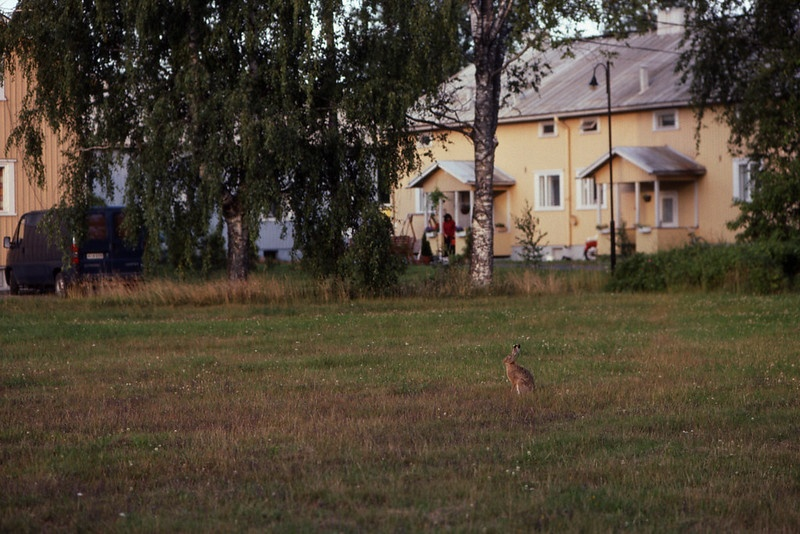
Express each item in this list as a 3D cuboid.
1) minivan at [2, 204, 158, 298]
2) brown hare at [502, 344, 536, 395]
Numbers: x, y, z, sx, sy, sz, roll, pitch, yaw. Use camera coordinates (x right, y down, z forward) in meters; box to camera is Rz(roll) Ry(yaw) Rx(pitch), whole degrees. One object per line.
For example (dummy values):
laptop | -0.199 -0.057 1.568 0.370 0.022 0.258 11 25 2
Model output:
minivan | -9.684 -0.405 46.292 2.377 2.265 3.695 -2 5 -41
brown hare | 2.414 2.126 33.076 0.612 1.070 0.358 12 23 24
